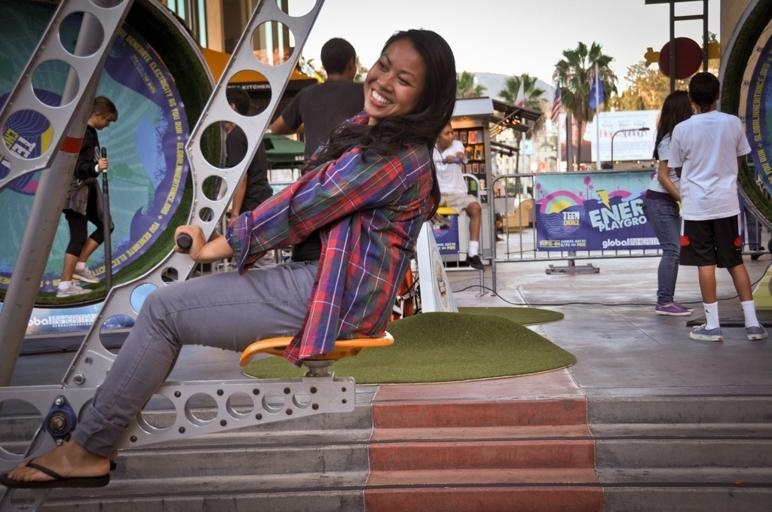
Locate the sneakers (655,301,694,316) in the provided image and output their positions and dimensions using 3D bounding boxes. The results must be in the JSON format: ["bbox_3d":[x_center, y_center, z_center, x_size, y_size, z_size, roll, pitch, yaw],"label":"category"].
[{"bbox_3d":[3.138,0.568,8.082,0.396,0.154,0.147,0,0,21],"label":"sneakers"}]

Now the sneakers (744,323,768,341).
[{"bbox_3d":[3.379,0.692,6.742,0.183,0.126,0.222,1,4,20],"label":"sneakers"}]

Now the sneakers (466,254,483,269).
[{"bbox_3d":[1.258,0.091,10.417,0.223,0.234,0.435,0,4,6],"label":"sneakers"}]

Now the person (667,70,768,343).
[{"bbox_3d":[3.046,-0.493,6.854,0.814,2.495,0.605,1,4,19],"label":"person"}]

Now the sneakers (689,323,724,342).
[{"bbox_3d":[2.937,0.700,6.794,0.279,0.125,0.269,1,4,18],"label":"sneakers"}]
